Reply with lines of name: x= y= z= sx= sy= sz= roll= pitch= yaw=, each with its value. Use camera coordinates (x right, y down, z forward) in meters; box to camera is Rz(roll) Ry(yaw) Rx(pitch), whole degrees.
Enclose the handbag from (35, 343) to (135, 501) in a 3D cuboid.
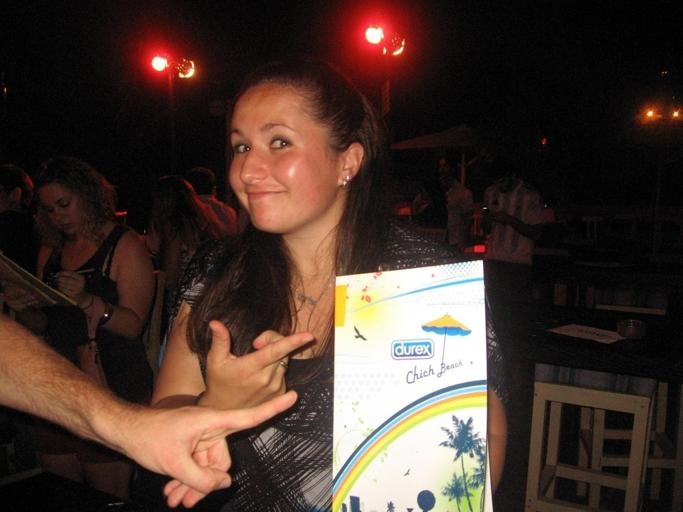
handbag: x=-1.711 y=1.083 z=3.959 sx=0.762 sy=1.162 sz=0.290 roll=4 pitch=6 yaw=-1
